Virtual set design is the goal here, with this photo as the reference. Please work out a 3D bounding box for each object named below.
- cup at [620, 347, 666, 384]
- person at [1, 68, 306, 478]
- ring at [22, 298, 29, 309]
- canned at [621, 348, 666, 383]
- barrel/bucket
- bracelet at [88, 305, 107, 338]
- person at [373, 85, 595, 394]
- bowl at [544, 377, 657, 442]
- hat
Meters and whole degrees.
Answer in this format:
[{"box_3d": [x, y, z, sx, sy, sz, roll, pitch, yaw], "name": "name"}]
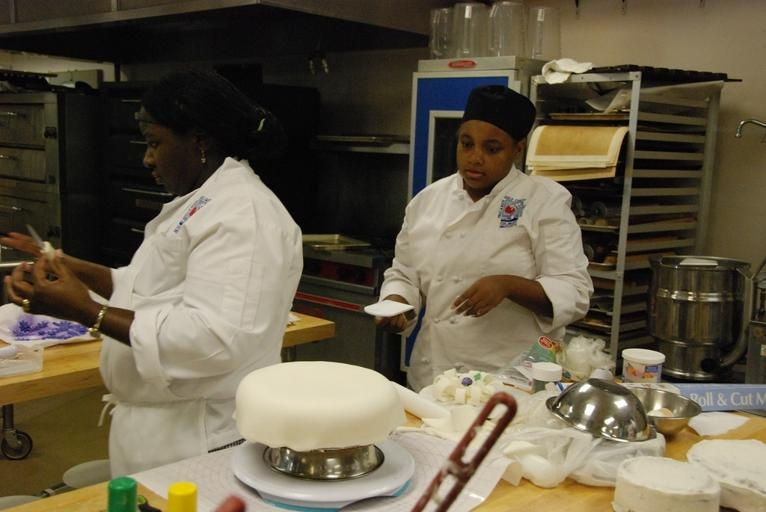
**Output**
[{"box_3d": [0.922, 0.379, 2.138, 0.129, 0.112, 0.127, 0, 3, 0], "name": "cup"}, {"box_3d": [-0.701, 0.064, 1.937, 0.863, 1.336, 0.552, 1, 8, -2], "name": "person"}, {"box_3d": [-1.019, 0.136, 1.704, 0.030, 0.029, 0.009, 6, 9, 31], "name": "ring"}, {"box_3d": [0.921, 0.379, 2.135, 0.129, 0.112, 0.126, -2, 3, -33], "name": "canned"}, {"box_3d": [1.607, 0.329, 2.836, 0.365, 0.611, 0.599, -2, 8, -19], "name": "barrel/bucket"}, {"box_3d": [-0.821, 0.193, 1.737, 0.026, 0.082, 0.088, 15, 5, 2], "name": "bracelet"}, {"box_3d": [0.450, -0.042, 2.528, 0.905, 1.366, 0.512, 1, 8, 2], "name": "person"}, {"box_3d": [0.649, 0.453, 1.775, 0.208, 0.064, 0.199, 7, 10, -1], "name": "bowl"}, {"box_3d": [0.524, -0.575, 2.532, 0.293, 0.168, 0.218, 14, 18, -22], "name": "hat"}]
